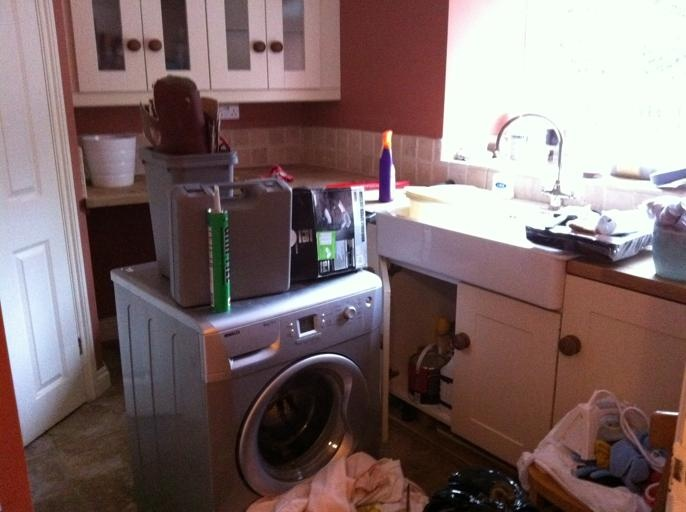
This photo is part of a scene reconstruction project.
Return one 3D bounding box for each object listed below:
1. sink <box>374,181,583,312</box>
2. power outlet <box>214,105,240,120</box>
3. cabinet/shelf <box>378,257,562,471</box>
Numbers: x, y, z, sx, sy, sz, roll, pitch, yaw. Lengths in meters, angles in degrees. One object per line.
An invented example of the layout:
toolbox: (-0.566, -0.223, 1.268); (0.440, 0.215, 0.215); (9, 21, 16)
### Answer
sink: (0.588, -0.070, 2.388); (0.902, 0.354, 0.354); (14, 23, 41)
power outlet: (-0.796, -0.977, 3.710); (0.108, 0.110, 0.269); (2, 17, 10)
cabinet/shelf: (0.752, 0.649, 2.729); (0.547, 0.933, 1.012); (19, 1, 26)
